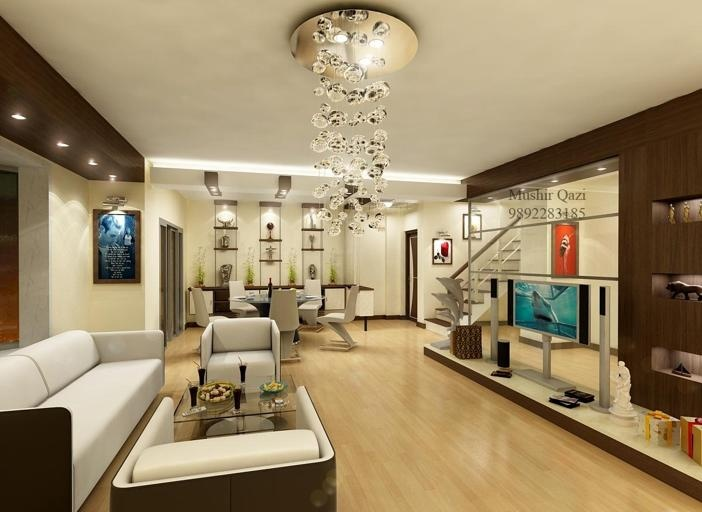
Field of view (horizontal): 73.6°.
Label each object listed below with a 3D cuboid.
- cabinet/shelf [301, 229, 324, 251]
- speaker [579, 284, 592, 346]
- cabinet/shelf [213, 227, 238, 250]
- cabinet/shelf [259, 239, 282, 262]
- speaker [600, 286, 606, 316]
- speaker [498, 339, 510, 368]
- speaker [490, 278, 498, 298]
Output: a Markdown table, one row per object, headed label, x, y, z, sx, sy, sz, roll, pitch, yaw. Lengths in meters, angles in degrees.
| label | x | y | z | sx | sy | sz | roll | pitch | yaw |
| --- | --- | --- | --- | --- | --- | --- | --- | --- | --- |
| cabinet/shelf | -0.900 | -0.370 | 10.711 | 0.486 | 0.471 | 0.163 | 0 | 0 | -18 |
| speaker | 2.652 | 0.657 | 5.300 | 0.104 | 0.655 | 0.150 | 1 | 8 | 3 |
| cabinet/shelf | -2.737 | -0.369 | 10.131 | 0.479 | 0.451 | 0.156 | 1 | -3 | -22 |
| cabinet/shelf | -1.820 | -0.114 | 10.434 | 0.505 | 0.489 | 0.164 | 1 | -1 | -19 |
| speaker | 2.707 | 0.487 | 5.015 | 0.035 | 0.302 | 0.078 | -3 | 9 | -25 |
| speaker | 2.073 | 1.316 | 6.301 | 0.158 | 0.353 | 0.147 | 3 | 8 | 14 |
| speaker | 2.042 | 0.466 | 6.641 | 0.044 | 0.274 | 0.104 | -4 | 10 | -32 |
